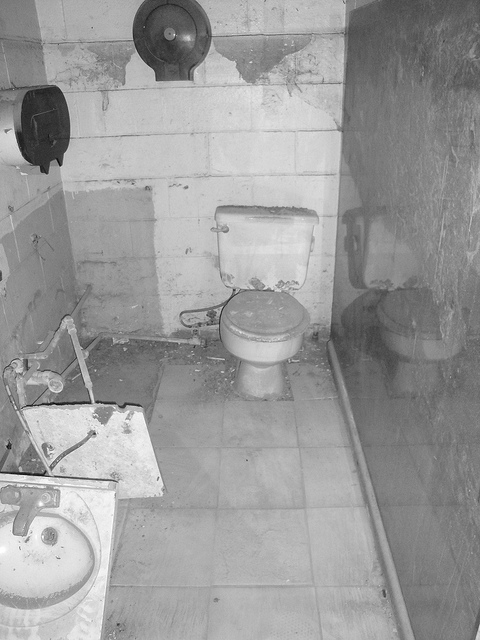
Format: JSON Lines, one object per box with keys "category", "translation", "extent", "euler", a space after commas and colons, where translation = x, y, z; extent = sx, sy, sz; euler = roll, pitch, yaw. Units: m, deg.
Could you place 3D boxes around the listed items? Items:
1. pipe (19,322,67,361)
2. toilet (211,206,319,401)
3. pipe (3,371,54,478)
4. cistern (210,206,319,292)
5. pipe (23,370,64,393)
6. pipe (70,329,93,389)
{"category": "pipe", "translation": [-0.632, 0.084, 1.863], "extent": [0.132, 0.139, 0.038], "euler": [-29, 25, -10]}
{"category": "toilet", "translation": [0.104, -0.033, 2.634], "extent": [0.470, 0.853, 0.578], "euler": [3, 26, 8]}
{"category": "pipe", "translation": [-0.696, 0.314, 1.842], "extent": [0.080, 0.408, 0.262], "euler": [-15, 29, -29]}
{"category": "cistern", "translation": [0.123, -0.181, 2.757], "extent": [0.520, 0.402, 0.502], "euler": [4, 48, -2]}
{"category": "pipe", "translation": [-0.667, 0.207, 1.922], "extent": [0.187, 0.062, 0.085], "euler": [-1, 74, 10]}
{"category": "pipe", "translation": [-0.712, 0.184, 2.542], "extent": [0.028, 0.044, 0.282], "euler": [-14, 76, -2]}
